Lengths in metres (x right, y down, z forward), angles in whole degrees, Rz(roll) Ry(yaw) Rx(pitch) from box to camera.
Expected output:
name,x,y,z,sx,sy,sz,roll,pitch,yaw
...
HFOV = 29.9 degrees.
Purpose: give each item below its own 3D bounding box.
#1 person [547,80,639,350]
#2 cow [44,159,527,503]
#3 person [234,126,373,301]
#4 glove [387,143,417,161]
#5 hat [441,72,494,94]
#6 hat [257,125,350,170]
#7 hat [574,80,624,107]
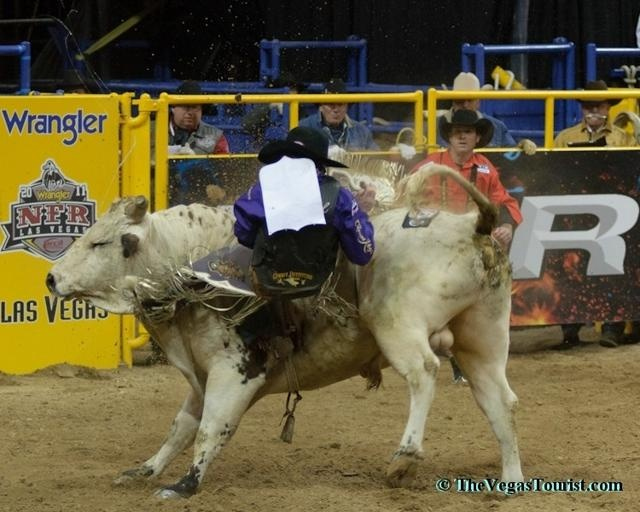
name,x,y,z,sx,sy,sz,roll,pitch,yaw
person,2.952,-0.427,12.633,1.033,2.754,1.586,4,6,10
cow,-0.083,0.517,8.565,3.171,2.411,0.797,3,6,8
person,-0.183,-0.285,8.588,1.067,1.126,0.732,8,-5,-18
glove,0.736,-0.928,10.696,0.225,0.080,0.209,1,14,-29
hat,1.624,-1.895,13.184,0.460,0.150,0.453,0,1,6
hat,-0.150,-0.769,8.418,0.348,0.146,0.422,13,-5,43
hat,3.024,-1.771,12.987,0.541,0.192,0.594,1,2,7
